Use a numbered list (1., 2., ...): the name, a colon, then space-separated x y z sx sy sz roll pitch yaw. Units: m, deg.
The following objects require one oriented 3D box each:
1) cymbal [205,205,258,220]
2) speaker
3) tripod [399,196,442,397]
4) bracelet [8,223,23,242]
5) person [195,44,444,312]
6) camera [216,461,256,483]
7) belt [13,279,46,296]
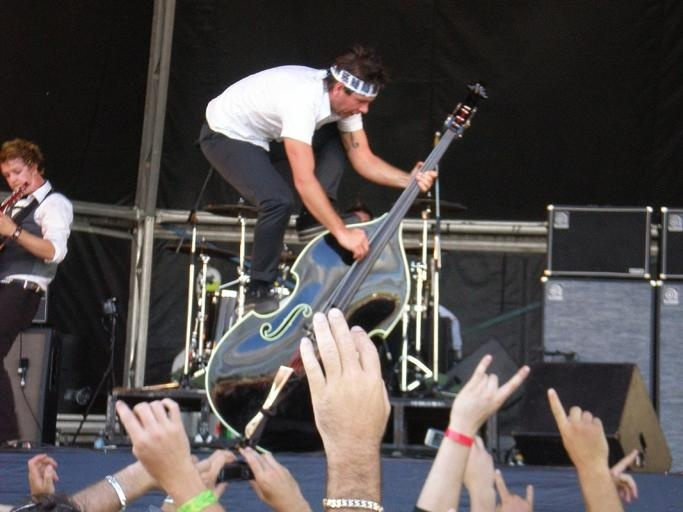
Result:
1. cymbal: -0.899 -0.363 9.452 0.242 0.038 0.227 -5 -11 40
2. speaker: 1.718 1.023 7.700 1.000 0.768 0.779 -5 -19 35
3. tripod: 0.642 0.323 8.636 0.502 1.253 0.221 8 -2 23
4. bracelet: -2.298 -0.161 8.035 0.025 0.100 0.077 37 2 -29
5. person: -0.168 -0.700 7.451 1.213 1.923 1.146 -4 7 -38
6. camera: -0.547 1.106 5.854 0.165 0.058 0.099 -2 1 -16
7. belt: -2.230 0.214 8.151 0.122 0.028 0.119 32 -10 -35
